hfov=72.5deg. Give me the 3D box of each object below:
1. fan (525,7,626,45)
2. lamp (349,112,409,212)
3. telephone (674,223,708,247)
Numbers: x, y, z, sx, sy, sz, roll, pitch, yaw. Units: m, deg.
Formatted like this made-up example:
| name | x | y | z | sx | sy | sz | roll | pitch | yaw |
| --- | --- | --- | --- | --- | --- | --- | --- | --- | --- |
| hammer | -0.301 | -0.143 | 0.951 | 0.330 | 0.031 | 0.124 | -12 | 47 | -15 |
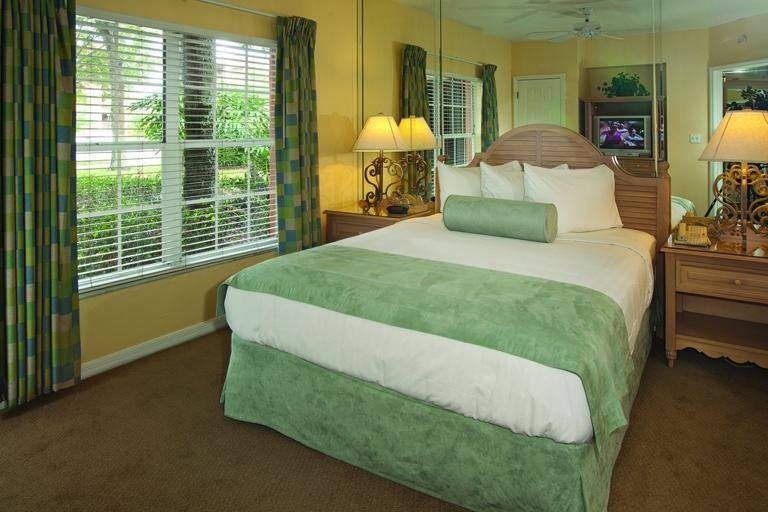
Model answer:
| name | x | y | z | sx | sy | sz | roll | pitch | yaw |
| --- | --- | --- | --- | --- | --- | --- | --- | --- | --- |
| fan | 1.593 | -1.877 | 4.269 | 0.371 | 0.159 | 0.431 | 0 | 2 | 32 |
| lamp | -0.031 | -0.941 | 5.306 | 0.574 | 0.983 | 0.584 | 1 | 6 | 33 |
| telephone | 2.212 | -0.168 | 3.771 | 0.172 | 0.191 | 0.046 | 4 | -26 | 33 |
